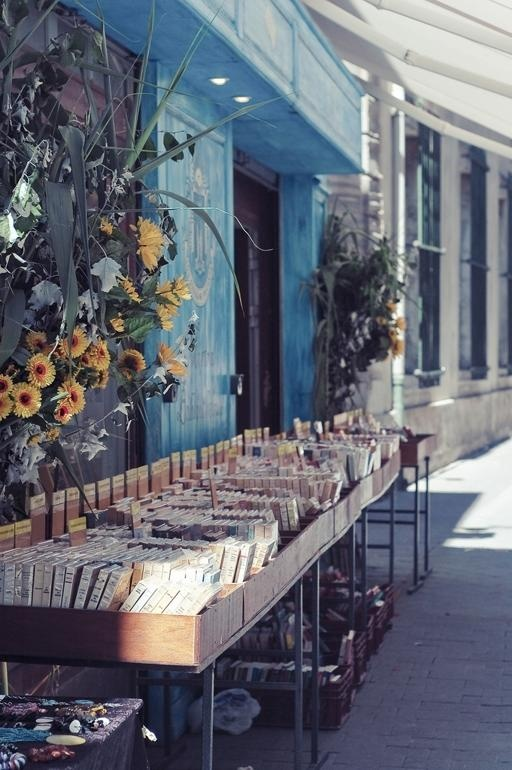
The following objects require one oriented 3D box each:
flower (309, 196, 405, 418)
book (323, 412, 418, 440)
[{"bbox_3d":[0.861,-0.459,7.373,0.655,1.282,0.857,11,19,14],"label":"flower"},{"bbox_3d":[0.737,0.272,6.424,0.405,0.155,0.307,2,2,21],"label":"book"}]
